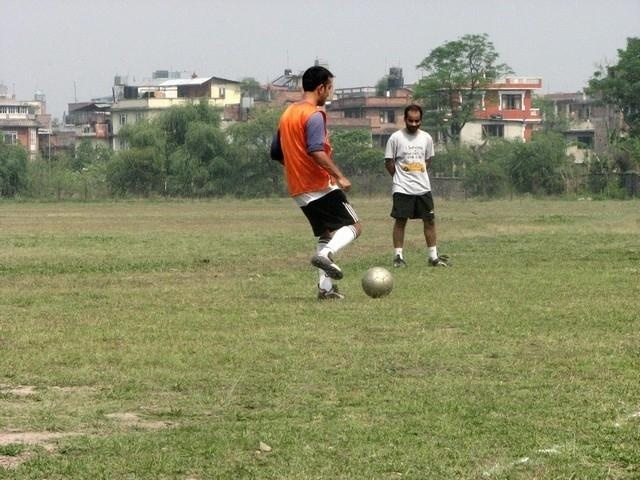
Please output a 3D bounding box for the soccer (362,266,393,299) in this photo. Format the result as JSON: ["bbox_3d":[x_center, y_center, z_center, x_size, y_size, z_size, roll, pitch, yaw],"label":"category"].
[{"bbox_3d":[0.803,0.615,19.620,0.421,0.448,0.424,0,40,-5],"label":"soccer"}]

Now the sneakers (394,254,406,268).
[{"bbox_3d":[1.263,0.307,21.957,0.202,0.195,0.466,-1,4,3],"label":"sneakers"}]

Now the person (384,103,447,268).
[{"bbox_3d":[1.503,-0.941,22.270,0.902,2.623,1.172,-1,4,3],"label":"person"}]

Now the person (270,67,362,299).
[{"bbox_3d":[-0.058,-0.828,19.295,1.174,3.338,1.080,-1,4,-2],"label":"person"}]
